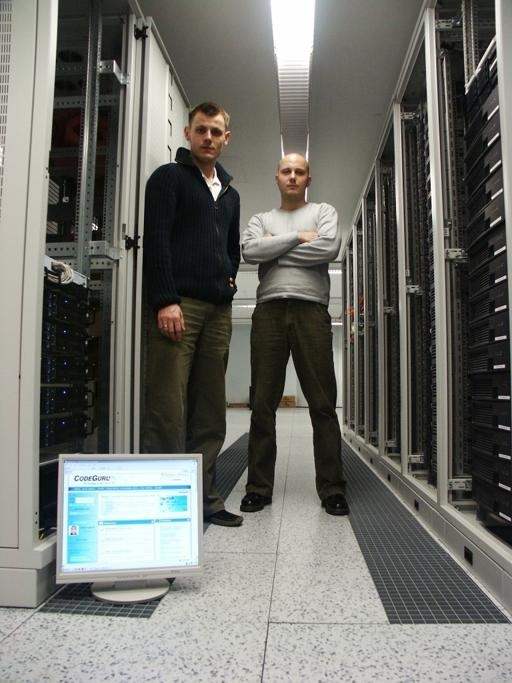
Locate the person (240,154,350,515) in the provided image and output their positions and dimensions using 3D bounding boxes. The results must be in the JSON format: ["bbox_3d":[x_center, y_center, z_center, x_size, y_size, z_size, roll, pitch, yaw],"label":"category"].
[{"bbox_3d":[0.157,-0.073,2.339,0.447,1.581,0.267,0,-5,0],"label":"person"}]

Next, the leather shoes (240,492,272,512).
[{"bbox_3d":[-0.003,0.684,2.254,0.053,0.065,0.153,-3,-15,15],"label":"leather shoes"}]

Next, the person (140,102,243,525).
[{"bbox_3d":[-0.256,-0.140,1.911,0.381,1.658,0.626,0,-5,4],"label":"person"}]

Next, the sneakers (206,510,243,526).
[{"bbox_3d":[-0.124,0.673,2.018,0.148,0.064,0.058,-2,-5,16],"label":"sneakers"}]
